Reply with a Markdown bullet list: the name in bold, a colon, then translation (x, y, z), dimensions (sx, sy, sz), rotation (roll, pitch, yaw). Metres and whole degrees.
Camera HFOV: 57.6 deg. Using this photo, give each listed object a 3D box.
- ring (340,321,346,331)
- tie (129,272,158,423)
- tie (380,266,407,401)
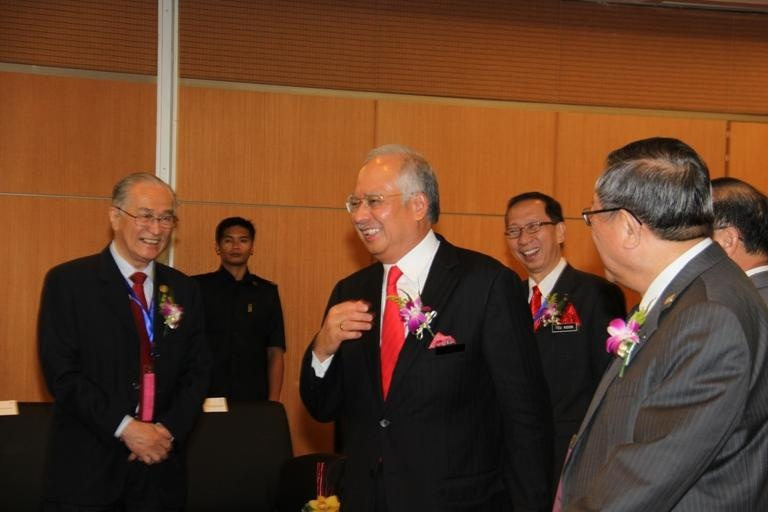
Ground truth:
- **ring**: translation (-0.183, 0.306, 3.091), dimensions (0.026, 0.036, 0.010), rotation (6, -2, -24)
- **tie**: translation (-1.288, 0.484, 3.762), dimensions (0.116, 0.847, 0.110), rotation (-3, -6, 7)
- **tie**: translation (0.048, 0.344, 3.149), dimensions (0.141, 0.460, 0.062), rotation (-7, -20, 25)
